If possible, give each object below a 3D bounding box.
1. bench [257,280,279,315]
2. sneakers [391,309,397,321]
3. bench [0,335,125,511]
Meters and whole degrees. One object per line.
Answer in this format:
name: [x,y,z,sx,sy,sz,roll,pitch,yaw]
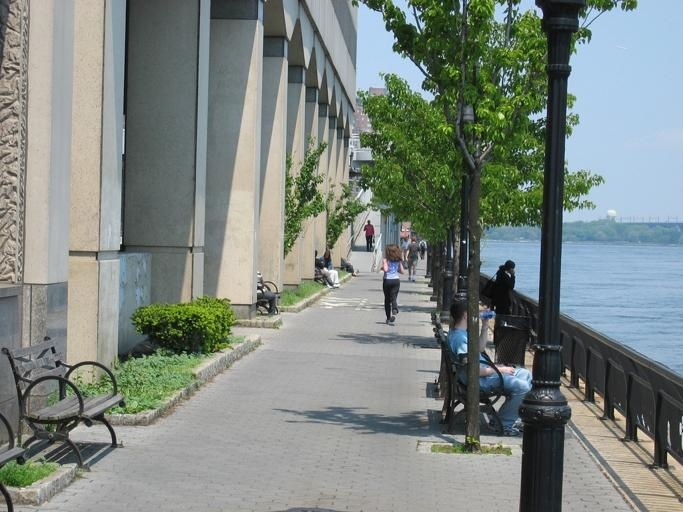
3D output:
bench: [-1.814,0.956,22.574,0.602,0.897,0.615,2,3,20]
sneakers: [1.270,1.418,23.706,0.105,0.403,0.150,3,2,5]
bench: [-3.116,1.912,11.000,1.011,1.292,1.690,0,3,2]
